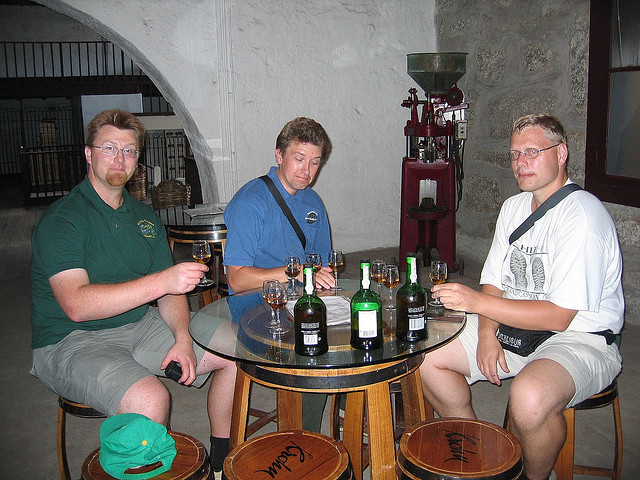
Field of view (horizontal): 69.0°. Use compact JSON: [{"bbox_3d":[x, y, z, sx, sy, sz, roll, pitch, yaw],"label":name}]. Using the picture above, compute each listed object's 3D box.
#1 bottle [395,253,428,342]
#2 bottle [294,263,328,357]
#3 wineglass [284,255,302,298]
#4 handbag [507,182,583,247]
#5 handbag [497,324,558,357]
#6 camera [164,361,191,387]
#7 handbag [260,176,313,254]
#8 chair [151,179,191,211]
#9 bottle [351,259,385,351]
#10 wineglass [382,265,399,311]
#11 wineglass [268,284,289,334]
[{"bbox_3d":[0.382,0.225,1.955,0.134,0.363,0.200,0,12,13],"label":"bottle"},{"bbox_3d":[-0.042,0.253,1.817,0.128,0.354,0.213,-3,12,-1],"label":"bottle"},{"bbox_3d":[-0.135,0.167,2.368,0.075,0.188,0.233,-3,12,-2],"label":"wineglass"},{"bbox_3d":[1.143,-0.124,2.349,0.048,0.405,0.132,16,46,5],"label":"handbag"},{"bbox_3d":[1.100,0.504,2.450,0.355,0.193,0.256,9,-2,-43],"label":"handbag"},{"bbox_3d":[-0.723,0.637,2.270,0.136,0.094,0.052,4,13,28],"label":"camera"},{"bbox_3d":[-0.219,-0.154,2.841,0.060,0.548,0.071,-36,4,-9],"label":"handbag"},{"bbox_3d":[-1.654,-0.534,5.273,0.435,0.455,0.324,-5,11,-15],"label":"chair"},{"bbox_3d":[0.179,0.243,1.825,0.123,0.362,0.151,-2,12,3],"label":"bottle"},{"bbox_3d":[0.347,0.197,2.286,0.076,0.211,0.291,-1,12,9],"label":"wineglass"},{"bbox_3d":[-0.184,0.266,2.027,0.080,0.217,0.237,-4,12,-5],"label":"wineglass"}]
